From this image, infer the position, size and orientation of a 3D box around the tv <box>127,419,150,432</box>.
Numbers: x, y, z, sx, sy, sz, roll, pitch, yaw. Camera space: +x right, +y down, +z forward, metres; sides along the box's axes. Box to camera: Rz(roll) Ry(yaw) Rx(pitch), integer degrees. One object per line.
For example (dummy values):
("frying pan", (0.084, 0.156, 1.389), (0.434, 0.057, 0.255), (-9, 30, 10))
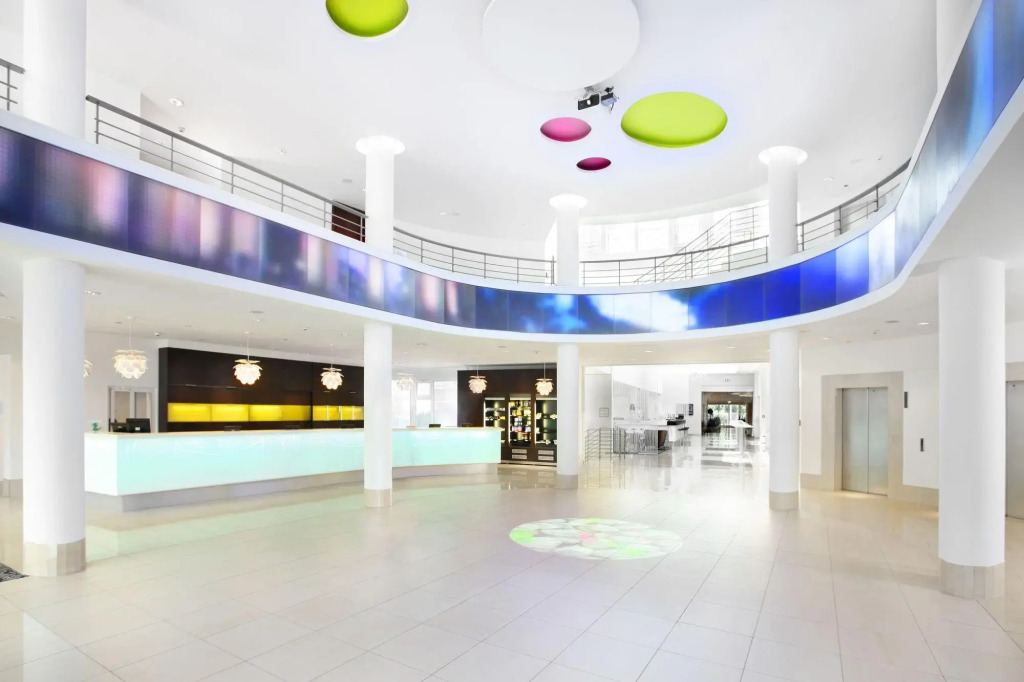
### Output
("tv", (-9.357, 2.188, 15.801), (0.602, 0.320, 0.562), (7, -14, -38))

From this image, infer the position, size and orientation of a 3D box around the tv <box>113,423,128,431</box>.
("tv", (-9.923, 2.210, 15.808), (0.346, 0.184, 0.850), (1, 0, -36))

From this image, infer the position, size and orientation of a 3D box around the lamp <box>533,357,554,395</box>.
("lamp", (1.305, 1.605, 24.738), (0.773, 1.417, 1.358), (1, 1, 5))
